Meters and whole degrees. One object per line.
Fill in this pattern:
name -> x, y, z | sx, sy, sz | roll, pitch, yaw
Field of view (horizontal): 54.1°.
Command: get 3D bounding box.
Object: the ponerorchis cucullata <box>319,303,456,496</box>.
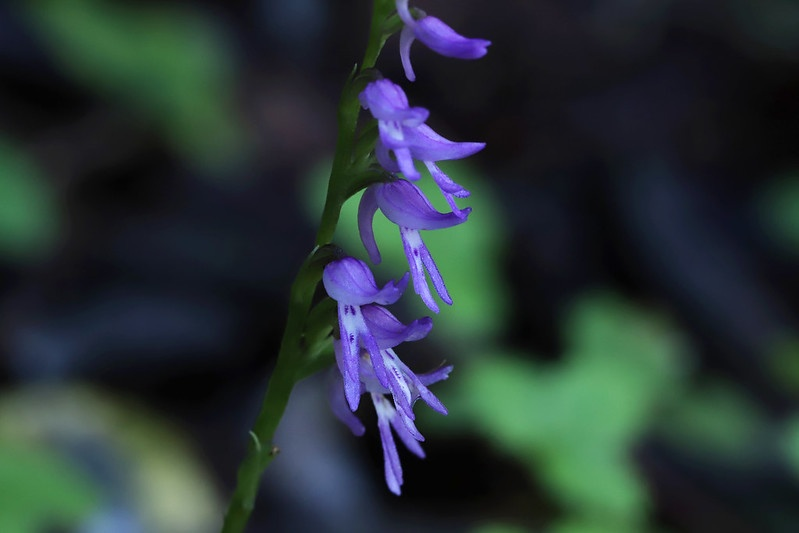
ponerorchis cucullata -> -0.070, 0.598, 3.593 | 0.414, 1.108, 0.389 | 1, -6, -18

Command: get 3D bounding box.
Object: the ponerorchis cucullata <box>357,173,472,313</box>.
ponerorchis cucullata -> 0.060, -0.120, 3.540 | 0.497, 0.591, 0.172 | -16, 9, 24

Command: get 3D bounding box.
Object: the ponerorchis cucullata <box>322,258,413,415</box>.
ponerorchis cucullata -> -0.146, 0.253, 3.434 | 0.418, 0.808, 0.224 | -13, -33, -17

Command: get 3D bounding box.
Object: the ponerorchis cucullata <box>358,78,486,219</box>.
ponerorchis cucullata -> 0.111, -0.544, 3.395 | 0.481, 0.572, 0.333 | 7, -29, -34
